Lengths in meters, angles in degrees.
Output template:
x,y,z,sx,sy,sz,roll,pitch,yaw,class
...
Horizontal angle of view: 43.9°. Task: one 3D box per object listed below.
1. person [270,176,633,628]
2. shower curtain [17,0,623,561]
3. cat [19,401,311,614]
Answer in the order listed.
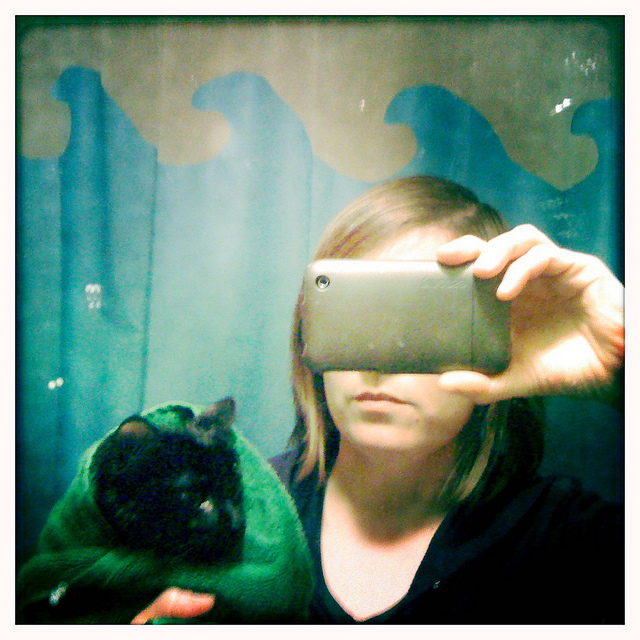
x,y,z,sx,sy,sz,roll,pitch,yaw,class
0.298,0.191,1.657,0.737,0.952,0.296,2,10,1,person
0.060,-0.088,1.679,1.276,1.213,0.045,1,0,3,shower curtain
-0.278,0.421,1.702,0.574,0.404,0.168,1,20,-5,cat
